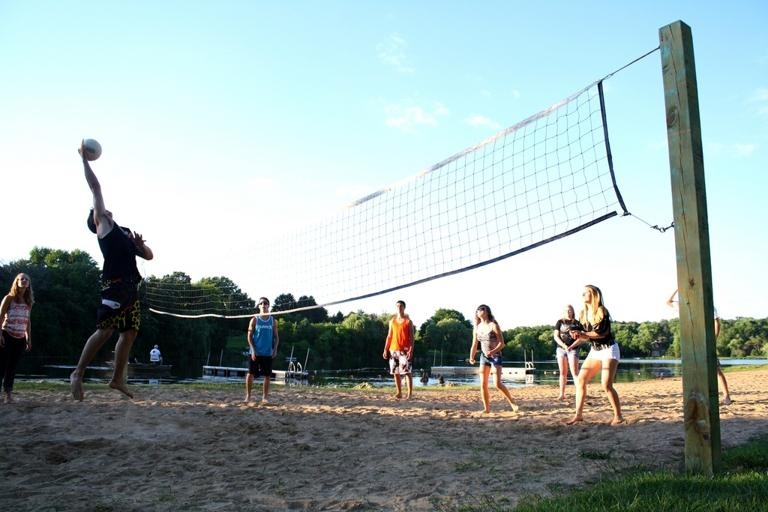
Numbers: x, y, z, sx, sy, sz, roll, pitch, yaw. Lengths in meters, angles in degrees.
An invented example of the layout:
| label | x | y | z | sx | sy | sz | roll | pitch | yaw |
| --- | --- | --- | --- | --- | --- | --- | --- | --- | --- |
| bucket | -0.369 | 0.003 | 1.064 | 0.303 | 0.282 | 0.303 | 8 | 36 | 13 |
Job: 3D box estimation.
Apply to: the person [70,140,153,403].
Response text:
| label | x | y | z | sx | sy | sz | roll | pitch | yaw |
| --- | --- | --- | --- | --- | --- | --- | --- | --- | --- |
| person | -3.420 | 0.212 | 8.097 | 0.902 | 3.260 | 0.574 | 1 | -2 | -28 |
